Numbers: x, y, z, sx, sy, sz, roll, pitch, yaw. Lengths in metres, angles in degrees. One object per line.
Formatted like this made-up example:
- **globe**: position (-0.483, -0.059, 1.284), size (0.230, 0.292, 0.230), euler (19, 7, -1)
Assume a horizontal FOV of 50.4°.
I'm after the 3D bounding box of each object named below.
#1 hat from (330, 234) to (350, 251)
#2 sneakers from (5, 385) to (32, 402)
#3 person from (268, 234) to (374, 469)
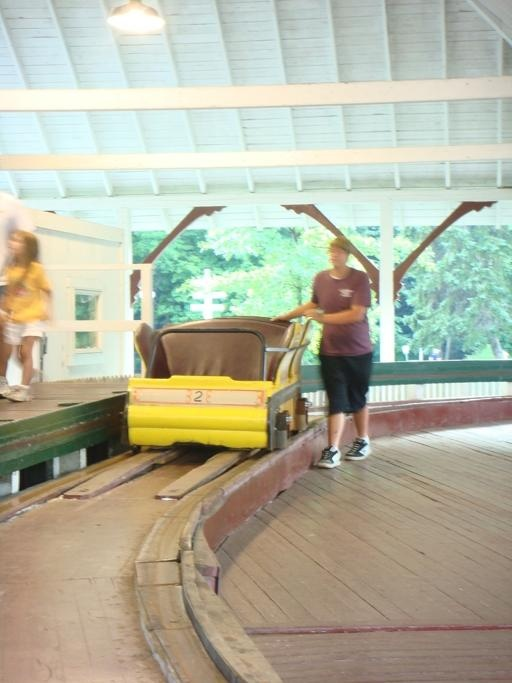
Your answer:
- **hat**: position (0.618, -0.731, 4.080), size (0.129, 0.110, 0.142), euler (0, -4, -3)
- **sneakers**: position (-1.745, 0.381, 4.020), size (0.128, 0.043, 0.188), euler (1, 1, -2)
- **person**: position (0.621, 0.101, 4.214), size (0.593, 1.736, 0.716), euler (-2, -4, 4)
